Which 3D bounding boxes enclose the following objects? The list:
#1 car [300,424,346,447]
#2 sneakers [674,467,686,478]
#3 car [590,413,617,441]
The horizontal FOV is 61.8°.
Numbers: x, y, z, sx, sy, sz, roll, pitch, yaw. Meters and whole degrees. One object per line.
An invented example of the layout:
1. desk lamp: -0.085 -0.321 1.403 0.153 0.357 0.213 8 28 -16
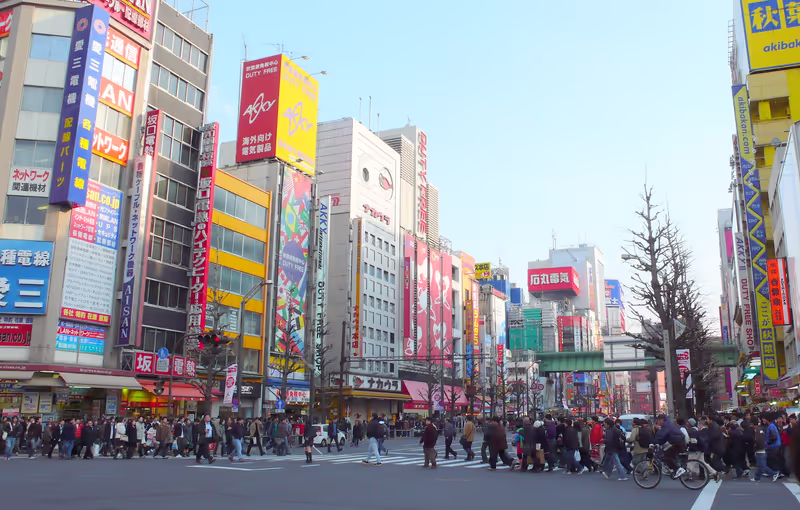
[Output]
1. car: -5.110 13.410 48.695 1.795 1.633 2.952 -7 -9 43
2. sneakers: 11.099 8.651 26.625 0.187 0.252 0.565 17 -49 -18
3. car: 9.511 8.326 31.909 1.029 1.244 5.430 -6 -17 14
